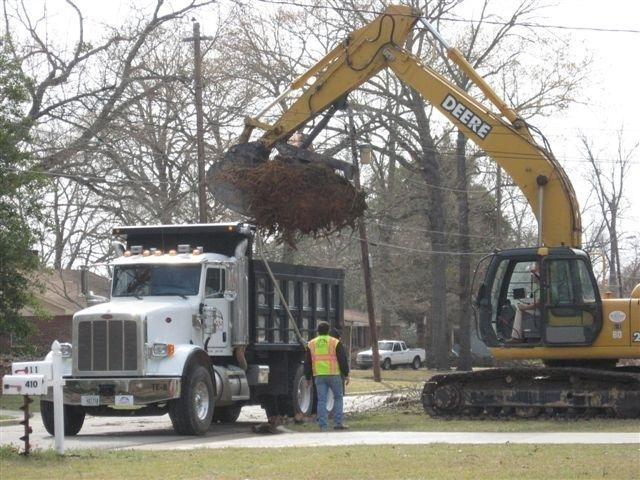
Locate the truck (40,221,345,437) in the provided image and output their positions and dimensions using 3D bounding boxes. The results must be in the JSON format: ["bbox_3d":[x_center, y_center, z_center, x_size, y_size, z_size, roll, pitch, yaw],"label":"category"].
[{"bbox_3d":[-2.906,2.035,25.740,2.513,5.067,6.805,-10,-15,40],"label":"truck"}]

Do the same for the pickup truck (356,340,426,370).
[{"bbox_3d":[3.965,6.188,59.564,1.651,1.499,3.777,-7,-11,38],"label":"pickup truck"}]
